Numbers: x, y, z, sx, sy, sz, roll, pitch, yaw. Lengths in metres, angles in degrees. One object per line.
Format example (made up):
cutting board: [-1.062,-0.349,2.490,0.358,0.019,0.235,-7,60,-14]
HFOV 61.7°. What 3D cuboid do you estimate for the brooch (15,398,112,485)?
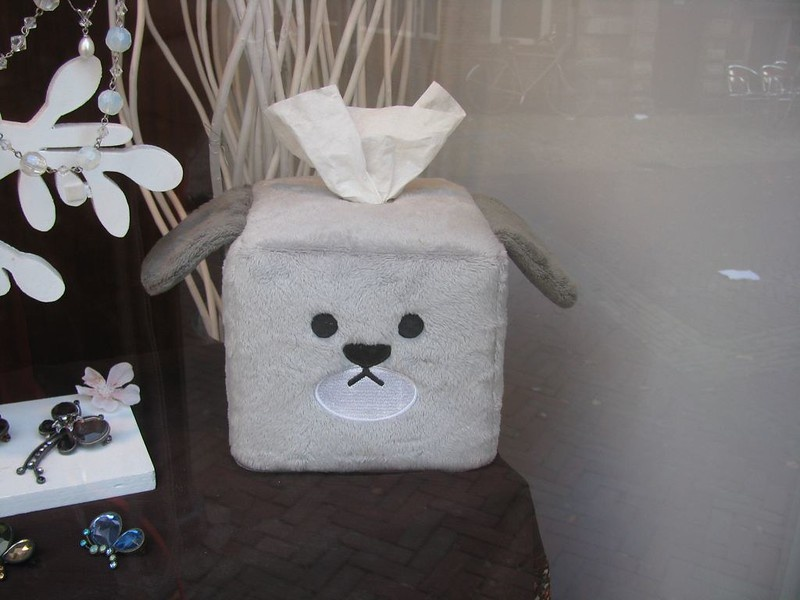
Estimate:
brooch: [-0.533,0.220,1.055,0.101,0.029,0.106,27,41,24]

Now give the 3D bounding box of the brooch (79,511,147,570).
brooch: [-0.406,0.335,0.947,0.087,0.044,0.057,15,31,27]

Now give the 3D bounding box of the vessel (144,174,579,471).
vessel: [-0.084,0.007,1.306,0.617,0.463,0.638,0,25,-4]

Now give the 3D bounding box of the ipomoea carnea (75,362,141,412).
ipomoea carnea: [-0.499,0.139,1.130,0.105,0.043,0.096,2,33,-35]
